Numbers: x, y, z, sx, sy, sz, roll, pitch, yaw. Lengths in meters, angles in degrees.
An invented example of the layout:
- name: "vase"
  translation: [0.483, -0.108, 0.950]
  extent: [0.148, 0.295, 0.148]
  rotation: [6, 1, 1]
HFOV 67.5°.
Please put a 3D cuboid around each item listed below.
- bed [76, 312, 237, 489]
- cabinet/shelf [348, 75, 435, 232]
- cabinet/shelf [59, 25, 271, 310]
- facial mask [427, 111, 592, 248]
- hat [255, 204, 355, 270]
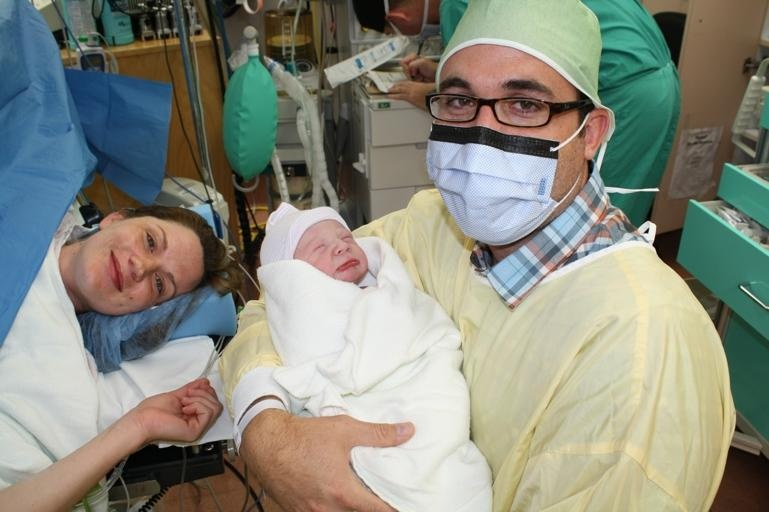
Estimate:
- name: "bed"
  translation: [-0.737, 0.338, 1.930]
  extent: [0.522, 0.141, 0.579]
  rotation: [-2, 45, -20]
- name: "cabinet/shelf"
  translation: [0.020, -0.613, 3.576]
  extent: [0.411, 0.889, 0.501]
  rotation: [-4, 25, -11]
- name: "cabinet/shelf"
  translation: [-0.819, -0.370, 3.393]
  extent: [0.783, 1.743, 1.482]
  rotation: [-4, 30, -6]
- name: "facial mask"
  translation: [0.336, -0.218, 1.720]
  extent: [0.398, 0.374, 0.391]
  rotation: [5, 26, 1]
- name: "hat"
  translation: [-0.324, -0.092, 2.160]
  extent: [0.204, 0.235, 0.279]
  rotation: [-19, 15, -30]
